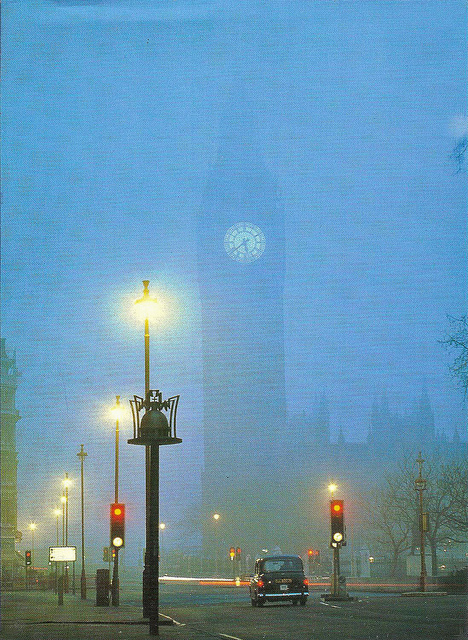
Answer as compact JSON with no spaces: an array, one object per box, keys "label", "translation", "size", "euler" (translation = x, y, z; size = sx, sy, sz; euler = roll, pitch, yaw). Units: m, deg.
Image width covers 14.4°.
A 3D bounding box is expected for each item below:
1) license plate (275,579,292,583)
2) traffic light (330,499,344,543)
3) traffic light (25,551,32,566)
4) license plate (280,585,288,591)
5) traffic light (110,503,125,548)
[{"label":"license plate","translation":[1.518,8.032,57.657],"size":[0.624,0.108,0.169],"euler":[-4,-1,-5]},{"label":"traffic light","translation":[3.192,6.183,57.633],"size":[0.395,1.397,0.470],"euler":[-1,-14,0]},{"label":"traffic light","translation":[-8.834,10.216,80.688],"size":[0.213,0.680,0.960],"euler":[2,-17,-12]},{"label":"license plate","translation":[1.554,8.254,57.639],"size":[0.232,0.169,0.080],"euler":[-2,-14,1]},{"label":"traffic light","translation":[-3.361,5.923,54.109],"size":[0.408,1.238,0.702],"euler":[0,-15,-6]}]
